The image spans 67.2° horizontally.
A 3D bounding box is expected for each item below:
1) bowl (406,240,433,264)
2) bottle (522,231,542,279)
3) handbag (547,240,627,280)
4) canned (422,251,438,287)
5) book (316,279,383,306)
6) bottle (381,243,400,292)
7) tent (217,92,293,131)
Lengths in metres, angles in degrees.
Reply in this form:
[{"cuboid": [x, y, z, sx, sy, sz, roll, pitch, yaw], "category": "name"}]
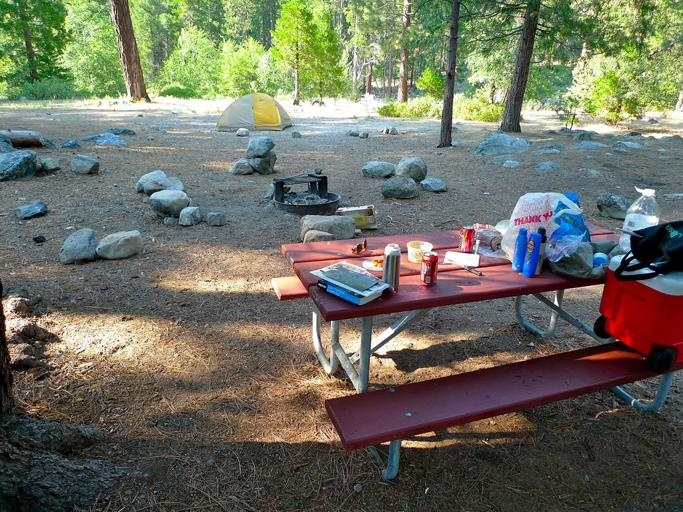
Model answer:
[{"cuboid": [0.585, -0.036, 3.912, 0.234, 0.093, 0.184, -2, 16, -9], "category": "bowl"}, {"cuboid": [1.386, -0.010, 3.703, 0.120, 0.325, 0.148, 8, 24, 17], "category": "bottle"}, {"cuboid": [1.817, 0.041, 3.872, 0.484, 0.106, 0.395, -3, 5, 13], "category": "handbag"}, {"cuboid": [0.607, 0.087, 3.583, 0.108, 0.231, 0.133, 3, 22, 6], "category": "canned"}, {"cuboid": [0.040, 0.250, 3.418, 0.250, 0.043, 0.245, 18, 12, 37], "category": "book"}, {"cuboid": [0.337, 0.077, 3.486, 0.115, 0.327, 0.161, 3, 22, 5], "category": "bottle"}, {"cuboid": [-2.948, -4.850, 17.370, 2.337, 0.793, 2.120, 1, 17, 5], "category": "tent"}]
